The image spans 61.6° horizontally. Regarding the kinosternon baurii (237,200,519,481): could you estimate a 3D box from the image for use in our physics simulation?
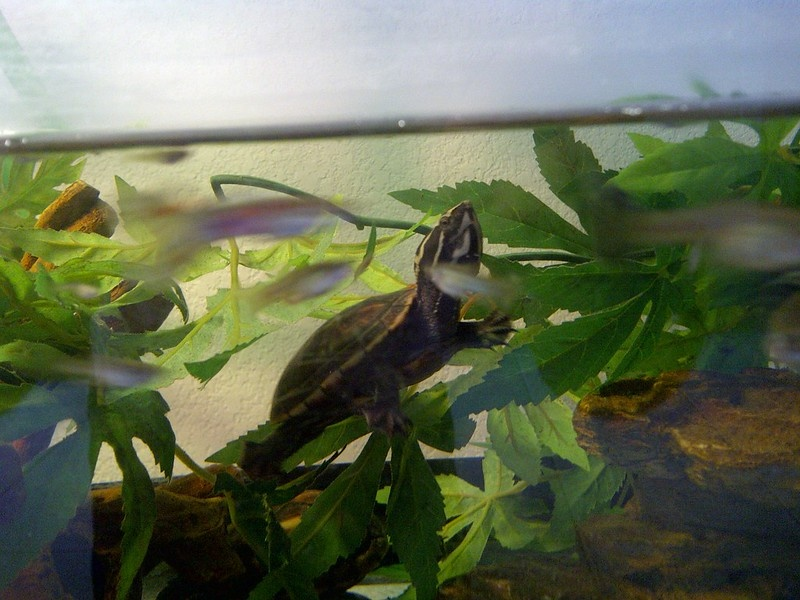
[{"bbox_3d":[-0.044,0.080,1.031,0.424,0.181,0.280,-29,17,24],"label":"kinosternon baurii"}]
